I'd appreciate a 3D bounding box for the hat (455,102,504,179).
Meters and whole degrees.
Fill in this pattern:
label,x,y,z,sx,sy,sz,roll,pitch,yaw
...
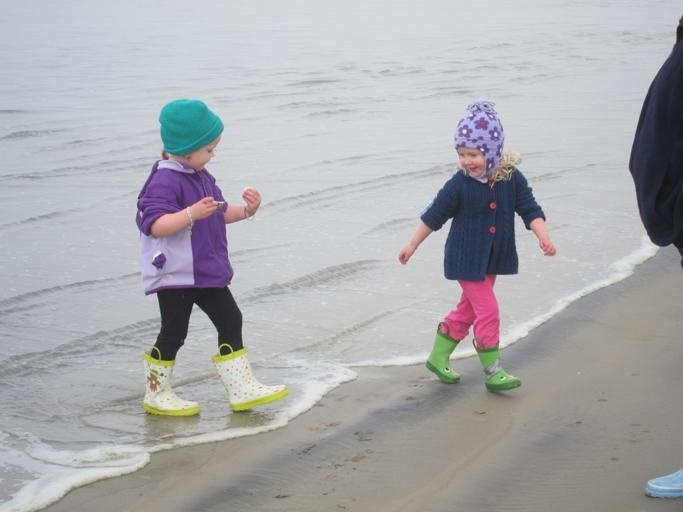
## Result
label,x,y,z,sx,sy,sz,roll,pitch,yaw
hat,0.687,-0.585,4.113,0.273,0.339,0.226,-7,23,-9

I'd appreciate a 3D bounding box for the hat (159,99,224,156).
label,x,y,z,sx,sy,sz,roll,pitch,yaw
hat,-0.695,-0.574,3.754,0.313,0.184,0.275,8,29,13

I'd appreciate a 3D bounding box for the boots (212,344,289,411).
label,x,y,z,sx,sy,sz,roll,pitch,yaw
boots,-0.447,0.566,3.894,0.363,0.250,0.147,-5,-1,-33

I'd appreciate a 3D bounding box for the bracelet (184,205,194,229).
label,x,y,z,sx,sy,sz,roll,pitch,yaw
bracelet,-0.665,-0.158,3.653,0.024,0.069,0.064,-9,17,-18

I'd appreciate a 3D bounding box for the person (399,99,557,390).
label,x,y,z,sx,sy,sz,roll,pitch,yaw
person,0.681,-0.040,4.086,0.712,1.316,0.845,6,30,31
